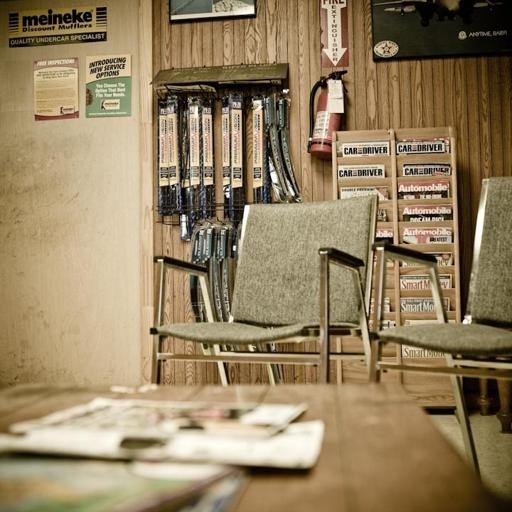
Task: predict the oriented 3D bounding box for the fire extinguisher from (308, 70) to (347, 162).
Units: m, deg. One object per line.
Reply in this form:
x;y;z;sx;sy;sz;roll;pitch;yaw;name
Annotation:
0.411;-0.852;3.335;0.234;0.542;0.211;0;-1;10;fire extinguisher
